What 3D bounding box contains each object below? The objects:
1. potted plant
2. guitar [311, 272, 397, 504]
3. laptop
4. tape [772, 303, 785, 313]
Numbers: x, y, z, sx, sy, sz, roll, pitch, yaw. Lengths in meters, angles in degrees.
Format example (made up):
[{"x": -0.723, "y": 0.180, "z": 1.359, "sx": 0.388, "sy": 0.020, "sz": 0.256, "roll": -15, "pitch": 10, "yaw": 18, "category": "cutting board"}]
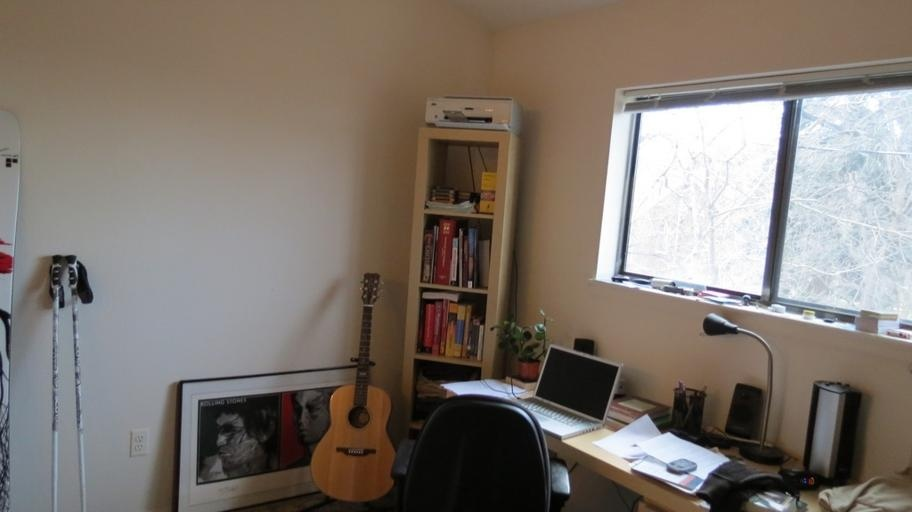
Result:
[{"x": 0.507, "y": 0.668, "z": 4.924, "sx": 0.535, "sy": 0.524, "sz": 0.498, "roll": -3, "pitch": 3, "yaw": 3, "category": "potted plant"}, {"x": -0.749, "y": 0.939, "z": 4.665, "sx": 0.582, "sy": 1.614, "sz": 0.345, "roll": 0, "pitch": 3, "yaw": -9, "category": "guitar"}, {"x": 0.766, "y": 0.907, "z": 4.325, "sx": 0.576, "sy": 0.354, "sz": 0.632, "roll": -4, "pitch": 13, "yaw": -41, "category": "laptop"}, {"x": 2.055, "y": 0.334, "z": 4.090, "sx": 0.069, "sy": 0.046, "sz": 0.031, "roll": 5, "pitch": 10, "yaw": -12, "category": "tape"}]
